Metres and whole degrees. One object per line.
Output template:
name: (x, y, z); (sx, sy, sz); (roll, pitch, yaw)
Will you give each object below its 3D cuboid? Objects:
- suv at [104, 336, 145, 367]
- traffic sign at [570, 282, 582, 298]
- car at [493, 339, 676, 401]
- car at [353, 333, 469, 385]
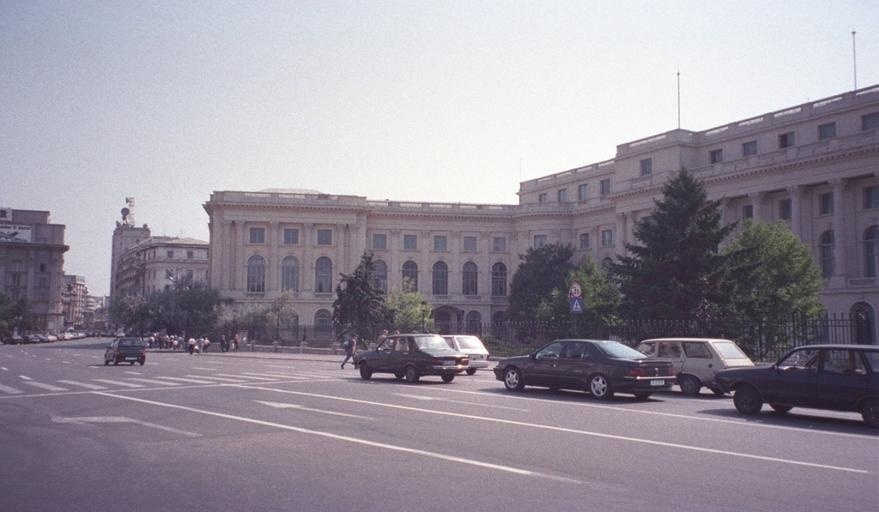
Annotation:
suv: (-19.087, 5.808, 53.680); (1.946, 1.643, 2.313); (6, -9, -33)
traffic sign: (7.715, 1.968, 50.260); (0.830, 1.127, 0.454); (-2, 5, 0)
car: (6.310, 5.011, 40.011); (8.256, 2.185, 3.733); (-3, -7, 44)
car: (-1.522, 5.302, 42.986); (8.293, 2.855, 3.649); (-2, -4, 43)
